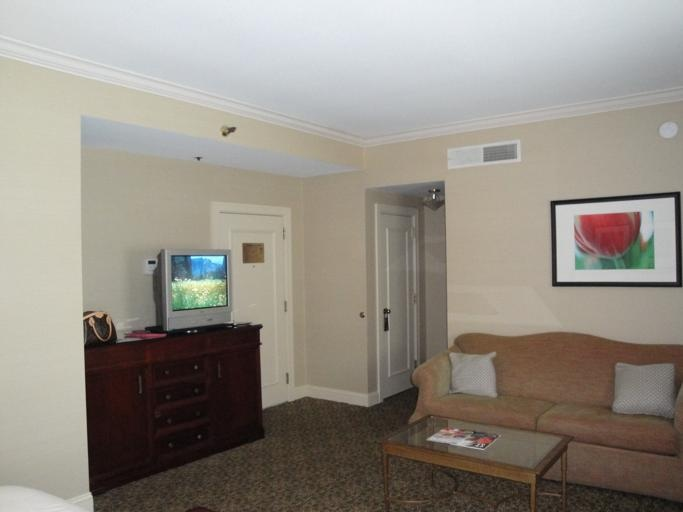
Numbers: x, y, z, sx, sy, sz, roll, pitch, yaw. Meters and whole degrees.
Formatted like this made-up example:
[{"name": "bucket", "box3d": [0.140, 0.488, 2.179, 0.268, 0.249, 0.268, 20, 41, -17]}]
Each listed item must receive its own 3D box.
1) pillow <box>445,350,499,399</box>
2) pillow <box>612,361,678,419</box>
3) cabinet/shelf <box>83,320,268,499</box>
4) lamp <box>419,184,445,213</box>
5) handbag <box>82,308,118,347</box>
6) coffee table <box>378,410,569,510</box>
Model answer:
[{"name": "pillow", "box3d": [1.255, 1.154, 4.784, 0.351, 0.315, 0.137, -5, -35, 21]}, {"name": "pillow", "box3d": [2.501, 1.098, 4.139, 0.441, 0.370, 0.362, 2, 8, 30]}, {"name": "cabinet/shelf", "box3d": [-1.625, 1.338, 4.725, 0.587, 1.112, 1.806, -8, -6, 39]}, {"name": "lamp", "box3d": [1.145, -0.698, 6.135, 0.215, 0.297, 0.118, -4, -14, 24]}, {"name": "handbag", "box3d": [-2.007, 0.594, 4.141, 0.139, 0.244, 0.285, -3, 0, 40]}, {"name": "coffee table", "box3d": [0.978, 1.599, 3.721, 1.329, 0.602, 0.903, 1, 7, 21]}]
